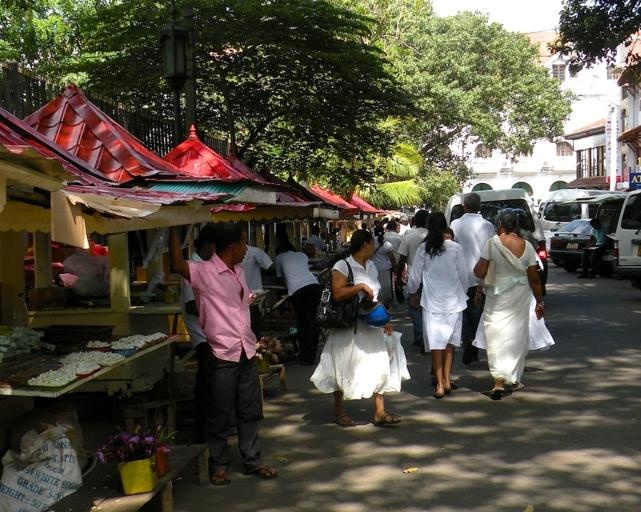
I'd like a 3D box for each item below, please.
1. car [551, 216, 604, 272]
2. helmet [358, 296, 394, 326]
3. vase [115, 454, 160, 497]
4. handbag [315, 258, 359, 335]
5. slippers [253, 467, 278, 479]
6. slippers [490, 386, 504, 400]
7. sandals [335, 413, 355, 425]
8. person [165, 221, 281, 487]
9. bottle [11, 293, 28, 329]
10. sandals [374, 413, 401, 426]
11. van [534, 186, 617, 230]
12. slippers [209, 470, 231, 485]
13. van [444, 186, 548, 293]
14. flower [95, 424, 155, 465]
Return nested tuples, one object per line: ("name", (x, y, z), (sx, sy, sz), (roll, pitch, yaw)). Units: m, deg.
("car", (9.759, -0.881, 23.502), (1.626, 1.157, 3.714), (3, 19, 34))
("helmet", (0.526, 0.560, 6.412), (0.227, 0.240, 0.295), (6, 16, -42))
("vase", (-1.234, 1.487, 4.403), (0.277, 0.225, 0.264), (-2, 1, 24))
("handbag", (0.257, 0.410, 6.495), (0.515, 0.635, 0.388), (-3, -7, 42))
("slippers", (-0.467, 1.784, 5.269), (0.227, 0.085, 0.084), (1, 5, 15))
("slippers", (2.029, 1.580, 7.338), (0.112, 0.103, 0.168), (2, 9, 13))
("sandals", (0.245, 1.704, 6.650), (0.192, 0.122, 0.197), (-3, 0, 1))
("person", (-0.813, 0.785, 5.206), (0.740, 2.151, 0.396), (-4, 0, -20))
("bottle", (-2.959, 0.542, 6.216), (0.174, 0.345, 0.165), (2, 0, 0))
("sandals", (0.666, 1.674, 6.524), (0.297, 0.094, 0.109), (-4, 8, 27))
("van", (11.238, -2.208, 29.071), (2.099, 1.569, 3.488), (6, 13, 41))
("slippers", (-0.828, 1.793, 5.149), (0.102, 0.057, 0.158), (2, 17, -7))
("van", (3.949, -0.597, 14.353), (2.094, 1.395, 2.964), (-1, 8, 8))
("flower", (-1.338, 1.335, 4.387), (0.263, 0.175, 0.309), (-36, -43, 17))
